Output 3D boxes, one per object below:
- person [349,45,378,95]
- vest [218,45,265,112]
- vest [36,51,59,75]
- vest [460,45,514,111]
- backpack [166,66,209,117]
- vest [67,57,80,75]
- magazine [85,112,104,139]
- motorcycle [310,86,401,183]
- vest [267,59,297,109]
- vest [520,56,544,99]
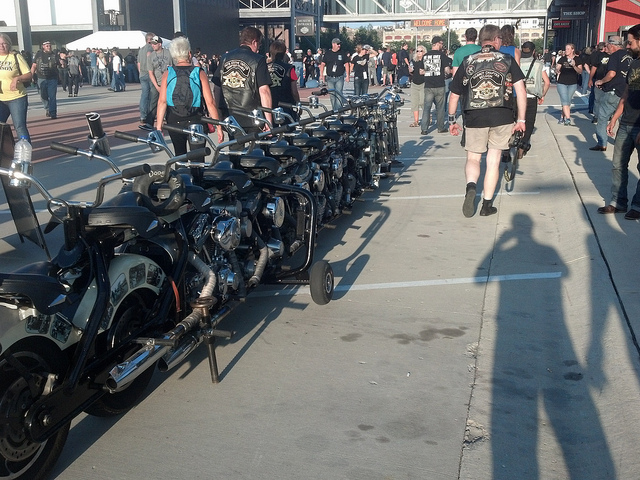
[{"bbox_3d":[1.478,-5.574,16.784,1.048,1.948,0.640,-3,42,4],"label":"person"},{"bbox_3d":[-1.075,-2.159,6.856,0.735,0.878,0.487,8,9,11],"label":"vest"},{"bbox_3d":[-9.022,-5.831,16.385,0.633,0.742,0.825,-12,21,-27],"label":"vest"},{"bbox_3d":[2.269,-2.235,6.855,0.696,0.883,0.511,1,11,17],"label":"vest"},{"bbox_3d":[-1.783,-1.935,6.662,0.534,0.679,0.404,-3,-4,-11],"label":"backpack"},{"bbox_3d":[-12.986,-9.171,26.225,0.495,0.867,1.252,-11,21,-23],"label":"vest"},{"bbox_3d":[-1.335,-0.675,2.954,0.079,0.146,0.203,-11,21,-23],"label":"magazine"},{"bbox_3d":[0.645,-1.715,7.950,1.312,1.288,1.965,0,12,8],"label":"motorcycle"},{"bbox_3d":[-0.637,-2.635,8.299,0.441,0.724,0.762,-4,19,-5],"label":"vest"},{"bbox_3d":[4.266,-3.258,10.070,0.493,0.796,0.654,6,20,22],"label":"vest"}]
